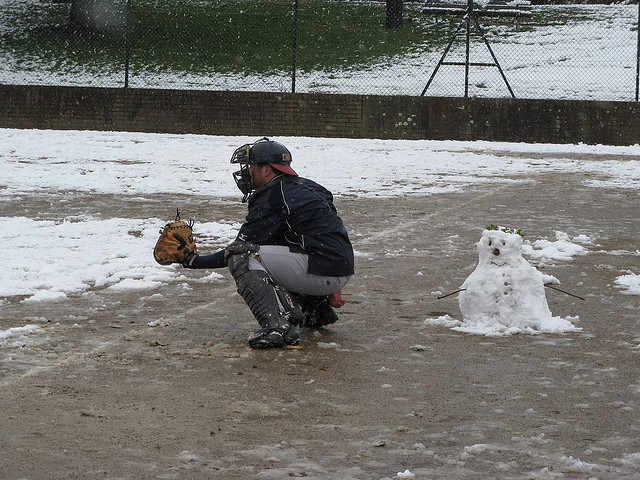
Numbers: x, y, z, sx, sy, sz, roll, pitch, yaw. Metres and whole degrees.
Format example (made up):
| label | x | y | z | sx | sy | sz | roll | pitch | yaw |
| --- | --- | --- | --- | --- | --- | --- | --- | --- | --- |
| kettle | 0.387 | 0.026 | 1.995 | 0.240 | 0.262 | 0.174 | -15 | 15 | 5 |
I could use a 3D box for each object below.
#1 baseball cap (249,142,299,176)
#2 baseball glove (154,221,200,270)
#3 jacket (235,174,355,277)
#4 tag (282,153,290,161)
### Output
| label | x | y | z | sx | sy | sz | roll | pitch | yaw |
| --- | --- | --- | --- | --- | --- | --- | --- | --- | --- |
| baseball cap | -0.453 | -0.783 | 10.424 | 0.448 | 0.202 | 0.299 | 16 | 7 | 3 |
| baseball glove | -1.371 | 0.026 | 10.568 | 0.408 | 0.416 | 0.357 | 4 | 14 | -19 |
| jacket | -0.199 | -0.197 | 10.584 | 0.949 | 0.984 | 1.163 | 26 | 19 | 36 |
| tag | -0.321 | -0.776 | 10.425 | 0.078 | 0.055 | 0.011 | -3 | 3 | -31 |
